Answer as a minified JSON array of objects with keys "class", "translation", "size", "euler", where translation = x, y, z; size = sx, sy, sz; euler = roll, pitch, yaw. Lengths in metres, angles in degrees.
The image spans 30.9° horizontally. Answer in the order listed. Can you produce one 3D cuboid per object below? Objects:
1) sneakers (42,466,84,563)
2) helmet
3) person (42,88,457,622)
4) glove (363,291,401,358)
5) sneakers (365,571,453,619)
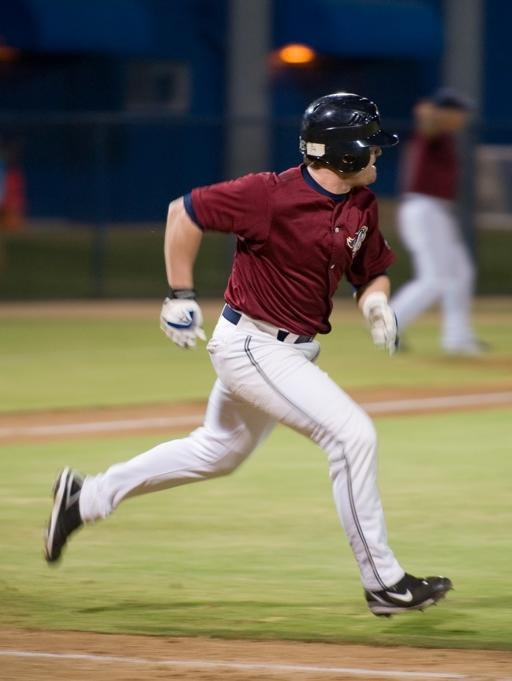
[{"class":"sneakers","translation":[-0.664,0.563,3.012],"size":[0.153,0.283,0.111],"euler":[15,4,-15]},{"class":"helmet","translation":[0.275,-0.648,2.845],"size":[0.348,0.204,0.218],"euler":[-8,31,-16]},{"class":"person","translation":[0.101,-0.008,2.844],"size":[1.183,1.511,0.652],"euler":[4,11,29]},{"class":"glove","translation":[0.445,-0.064,2.993],"size":[0.091,0.110,0.197],"euler":[-12,51,-15]},{"class":"sneakers","translation":[0.425,0.681,2.528],"size":[0.250,0.110,0.082],"euler":[-23,-8,24]}]
